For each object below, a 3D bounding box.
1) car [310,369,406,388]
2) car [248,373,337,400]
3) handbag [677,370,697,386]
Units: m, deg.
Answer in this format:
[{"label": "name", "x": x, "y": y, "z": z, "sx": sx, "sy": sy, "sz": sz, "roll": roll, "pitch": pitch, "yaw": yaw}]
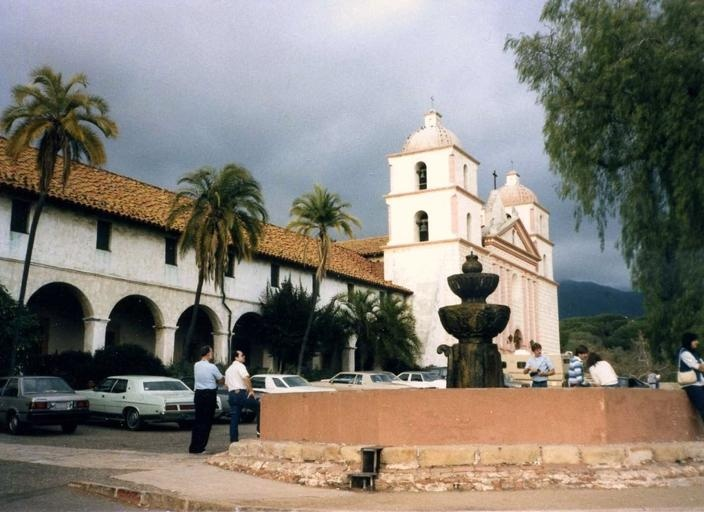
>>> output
[{"label": "car", "x": 0.474, "y": 4.930, "z": 30.955, "sx": 2.690, "sy": 0.912, "sz": 1.343, "roll": -2, "pitch": -9, "yaw": 22}, {"label": "car", "x": -2.374, "y": 4.445, "z": 26.898, "sx": 2.151, "sy": 0.899, "sz": 2.151, "roll": 2, "pitch": -15, "yaw": -9}, {"label": "handbag", "x": 6.462, "y": 2.332, "z": 14.949, "sx": 0.309, "sy": 0.327, "sz": 0.152, "roll": 0, "pitch": -3, "yaw": 13}]
